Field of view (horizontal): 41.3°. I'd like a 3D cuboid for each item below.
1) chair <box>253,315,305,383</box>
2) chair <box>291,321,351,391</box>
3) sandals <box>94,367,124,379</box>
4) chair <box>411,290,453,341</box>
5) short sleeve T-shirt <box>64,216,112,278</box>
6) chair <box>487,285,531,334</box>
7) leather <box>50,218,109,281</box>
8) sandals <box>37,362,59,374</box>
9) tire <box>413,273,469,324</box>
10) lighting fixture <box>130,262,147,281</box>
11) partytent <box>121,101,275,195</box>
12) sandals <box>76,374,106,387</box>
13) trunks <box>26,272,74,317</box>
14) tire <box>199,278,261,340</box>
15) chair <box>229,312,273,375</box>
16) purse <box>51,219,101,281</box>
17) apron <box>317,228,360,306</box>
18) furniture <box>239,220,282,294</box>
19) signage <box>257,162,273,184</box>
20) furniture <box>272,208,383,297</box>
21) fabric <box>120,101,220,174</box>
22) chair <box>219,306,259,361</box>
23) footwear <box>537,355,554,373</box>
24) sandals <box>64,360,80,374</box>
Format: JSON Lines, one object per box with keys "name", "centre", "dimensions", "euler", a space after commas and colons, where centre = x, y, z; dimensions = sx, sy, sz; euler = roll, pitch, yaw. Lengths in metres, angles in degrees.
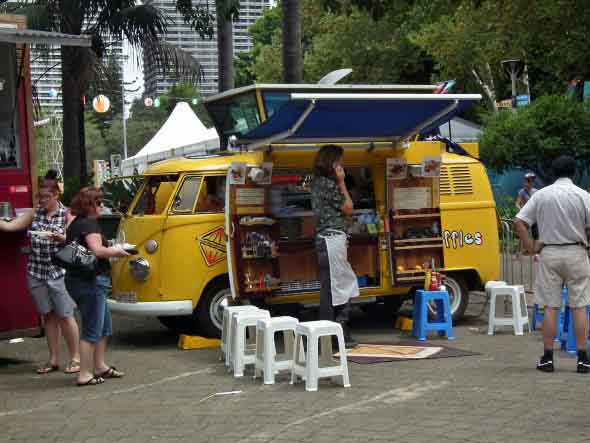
{"name": "chair", "centre": [-0.273, 1.577, 9.879], "dimensions": [0.682, 0.865, 0.720], "euler": [-1, -7, -3]}
{"name": "chair", "centre": [0.291, 1.609, 9.592], "dimensions": [0.766, 0.880, 0.757], "euler": [0, -4, -26]}
{"name": "sandals", "centre": [-2.309, 1.922, 9.955], "dimensions": [0.323, 0.112, 0.125], "euler": [1, -1, -8]}
{"name": "chair", "centre": [1.991, 1.377, 11.649], "dimensions": [0.565, 0.713, 0.679], "euler": [-3, 4, -6]}
{"name": "short sleeve T-shirt", "centre": [-2.554, 0.336, 9.534], "dimensions": [0.583, 0.680, 0.284], "euler": [24, -20, -19]}
{"name": "chair", "centre": [3.189, 1.315, 11.943], "dimensions": [0.726, 0.868, 0.738], "euler": [-2, -1, 25]}
{"name": "leather", "centre": [-2.603, 0.372, 9.604], "dimensions": [0.686, 0.763, 0.373], "euler": [8, -15, -11]}
{"name": "sandals", "centre": [-3.189, 1.930, 10.281], "dimensions": [0.126, 0.101, 0.264], "euler": [-4, -7, 39]}
{"name": "tire", "centre": [2.163, 1.166, 11.928], "dimensions": [0.727, 0.700, 0.264], "euler": [-15, 1, -22]}
{"name": "lighting fixture", "centre": [-2.180, 0.714, 11.157], "dimensions": [0.248, 0.259, 0.090], "euler": [0, 3, 29]}
{"name": "partytent", "centre": [-3.625, -2.373, 23.330], "dimensions": [3.788, 2.368, 3.641], "euler": [-10, 4, -3]}
{"name": "sandals", "centre": [-2.477, 1.960, 9.682], "dimensions": [0.260, 0.082, 0.133], "euler": [-2, 2, -13]}
{"name": "trunks", "centre": [-3.076, 0.925, 10.075], "dimensions": [0.534, 0.692, 0.272], "euler": [-13, 7, 8]}
{"name": "tire", "centre": [-0.887, 1.217, 10.913], "dimensions": [0.830, 0.799, 0.292], "euler": [9, 3, -18]}
{"name": "chair", "centre": [-0.658, 1.563, 10.220], "dimensions": [0.707, 0.904, 0.698], "euler": [0, -4, -21]}
{"name": "purse", "centre": [-2.615, 0.373, 9.574], "dimensions": [0.560, 0.682, 0.289], "euler": [22, -20, -12]}
{"name": "apron", "centre": [0.604, 0.641, 10.653], "dimensions": [0.493, 1.031, 0.224], "euler": [-3, 4, -6]}
{"name": "furniture", "centre": [-0.494, 0.547, 11.284], "dimensions": [0.545, 0.980, 0.330], "euler": [-3, 4, -13]}
{"name": "signage", "centre": [-0.409, -0.693, 11.410], "dimensions": [0.135, 0.315, 0.310], "euler": [1, 6, 43]}
{"name": "furniture", "centre": [0.436, 0.512, 12.032], "dimensions": [2.008, 1.312, 1.176], "euler": [0, -4, -21]}
{"name": "fabric", "centre": [-3.712, -2.375, 23.521], "dimensions": [3.318, 2.078, 3.226], "euler": [-2, 5, -3]}
{"name": "chair", "centre": [-0.889, 1.504, 10.506], "dimensions": [0.673, 0.862, 0.683], "euler": [1, -4, -19]}
{"name": "footwear", "centre": [3.066, 1.766, 9.698], "dimensions": [0.224, 0.173, 0.222], "euler": [-2, 4, 7]}
{"name": "sandals", "centre": [-2.847, 1.908, 10.209], "dimensions": [0.140, 0.096, 0.232], "euler": [-2, -6, 14]}
